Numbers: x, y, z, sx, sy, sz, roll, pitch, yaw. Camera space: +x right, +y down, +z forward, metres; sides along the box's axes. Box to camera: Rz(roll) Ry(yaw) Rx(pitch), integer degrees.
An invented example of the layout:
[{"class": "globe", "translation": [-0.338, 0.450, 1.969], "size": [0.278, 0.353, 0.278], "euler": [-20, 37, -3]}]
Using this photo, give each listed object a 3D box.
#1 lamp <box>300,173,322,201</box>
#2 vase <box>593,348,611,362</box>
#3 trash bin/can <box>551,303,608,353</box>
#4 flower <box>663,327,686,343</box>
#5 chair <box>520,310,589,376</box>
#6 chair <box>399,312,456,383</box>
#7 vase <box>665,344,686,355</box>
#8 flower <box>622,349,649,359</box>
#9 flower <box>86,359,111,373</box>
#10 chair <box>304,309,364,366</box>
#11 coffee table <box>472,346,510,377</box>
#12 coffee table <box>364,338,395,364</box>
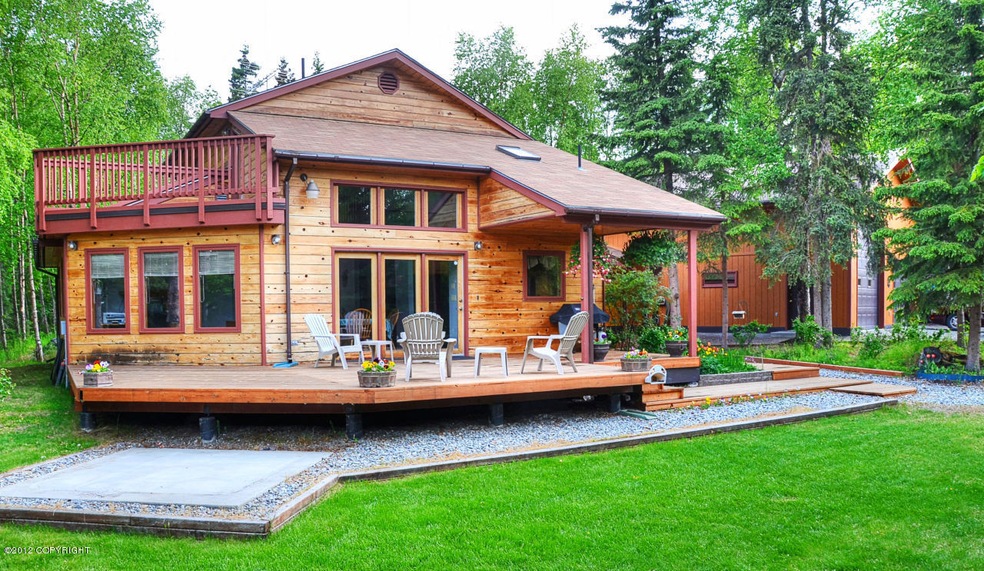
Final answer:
[{"class": "lamp", "translation": [-5.118, -2.808, 23.783], "size": [0.527, 0.751, 0.335], "euler": [-1, -3, -12]}, {"class": "vase", "translation": [3.054, 1.941, 23.796], "size": [0.435, 0.263, 0.415], "euler": [-2, -1, 4]}, {"class": "trash bin/can", "translation": [2.683, 1.067, 25.538], "size": [1.243, 0.776, 1.219], "euler": [3, -2, -31]}, {"class": "flower", "translation": [5.300, 1.454, 24.466], "size": [0.620, 0.394, 0.654], "euler": [-2, -4, 14]}, {"class": "chair", "translation": [1.591, 1.515, 22.217], "size": [1.845, 1.415, 1.618], "euler": [-6, -6, 39]}, {"class": "chair", "translation": [-1.915, 1.591, 21.753], "size": [1.885, 1.997, 1.584], "euler": [0, -2, 1]}, {"class": "vase", "translation": [5.263, 1.844, 24.201], "size": [0.423, 0.246, 0.406], "euler": [-1, -1, 14]}, {"class": "flower", "translation": [3.807, 1.849, 22.498], "size": [0.670, 0.200, 0.614], "euler": [-2, -4, 5]}, {"class": "flower", "translation": [-9.913, 2.061, 21.243], "size": [0.513, 0.239, 0.570], "euler": [1, -4, -28]}, {"class": "chair", "translation": [-4.324, 1.496, 23.238], "size": [1.861, 1.473, 1.345], "euler": [2, 1, 25]}, {"class": "coffee table", "translation": [-0.035, 1.970, 21.795], "size": [0.863, 0.605, 0.814], "euler": [-1, -6, 1]}, {"class": "coffee table", "translation": [-3.162, 1.831, 23.855], "size": [0.875, 0.637, 0.810], "euler": [0, -4, 6]}]
